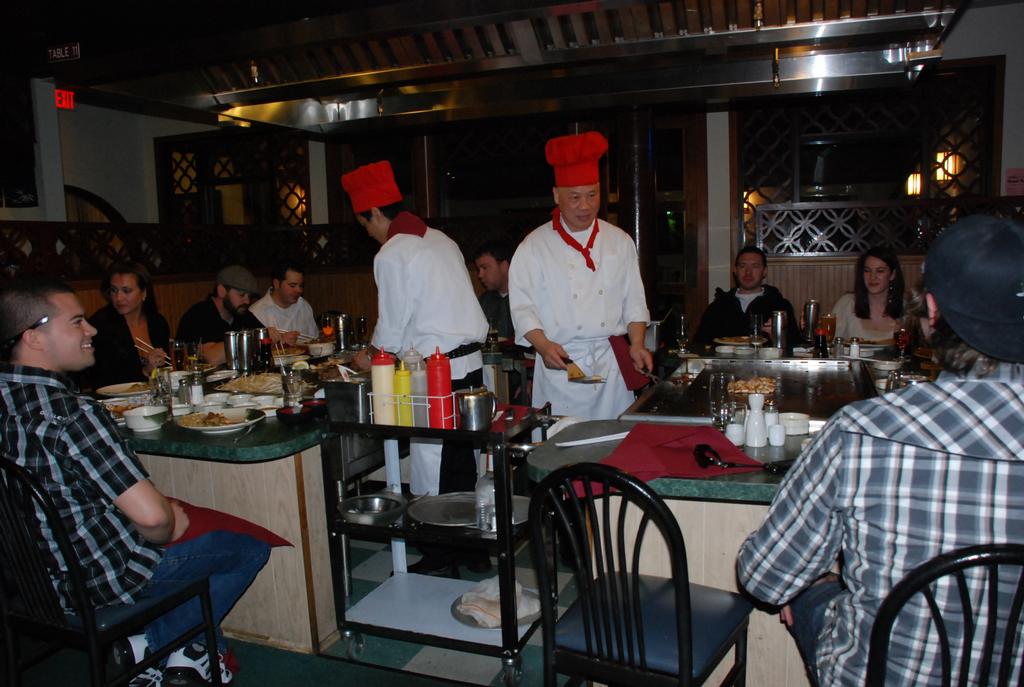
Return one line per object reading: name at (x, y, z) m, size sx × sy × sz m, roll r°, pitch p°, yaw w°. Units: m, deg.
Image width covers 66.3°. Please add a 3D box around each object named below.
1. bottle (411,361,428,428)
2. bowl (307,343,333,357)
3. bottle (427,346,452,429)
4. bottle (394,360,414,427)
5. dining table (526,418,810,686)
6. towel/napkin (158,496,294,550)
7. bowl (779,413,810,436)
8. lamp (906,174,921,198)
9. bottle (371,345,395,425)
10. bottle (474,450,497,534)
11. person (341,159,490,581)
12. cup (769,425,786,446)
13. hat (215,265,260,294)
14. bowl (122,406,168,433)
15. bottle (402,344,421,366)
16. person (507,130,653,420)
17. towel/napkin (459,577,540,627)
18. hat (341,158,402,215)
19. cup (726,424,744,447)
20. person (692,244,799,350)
bottle at (-0.383, 0.204, 3.251) m, size 0.063 × 0.238 × 0.142 m, roll -3°, pitch 9°, yaw -7°
bowl at (-1.202, 0.042, 4.973) m, size 0.176 × 0.078 × 0.129 m, roll -7°, pitch 10°, yaw -30°
bottle at (-0.293, 0.186, 3.185) m, size 0.107 × 0.298 × 0.145 m, roll -3°, pitch 9°, yaw -5°
bottle at (-0.447, 0.208, 3.245) m, size 0.074 × 0.244 × 0.160 m, roll -3°, pitch 9°, yaw -8°
dining table at (0.662, 0.645, 3.187) m, size 1.181 × 1.182 × 0.804 m, roll 3°, pitch 15°, yaw 21°
towel/napkin at (-1.152, 0.735, 3.192) m, size 0.468 × 0.119 × 0.117 m, roll 29°, pitch 1°, yaw -16°
bowl at (1.115, 0.314, 3.073) m, size 0.088 × 0.040 × 0.089 m, roll -1°, pitch 6°, yaw 0°
lamp at (3.340, -1.320, 6.512) m, size 0.129 × 0.182 × 0.054 m, roll 3°, pitch 10°, yaw 27°
bottle at (-0.534, 0.187, 3.271) m, size 0.102 × 0.282 × 0.154 m, roll -4°, pitch 9°, yaw -11°
bottle at (-0.108, 0.618, 3.181) m, size 0.082 × 0.247 × 0.230 m, roll -2°, pitch 9°, yaw -3°
person at (-0.445, 0.114, 4.295) m, size 0.774 × 2.178 × 0.779 m, roll 9°, pitch 22°, yaw 36°
cup at (1.004, 0.346, 2.974) m, size 0.071 × 0.075 × 0.070 m, roll -1°, pitch 0°, yaw 0°
hat at (-1.755, -0.402, 5.007) m, size 0.214 × 0.114 × 0.158 m, roll 10°, pitch 4°, yaw 0°
bowl at (-1.624, 0.334, 3.469) m, size 0.123 × 0.068 × 0.137 m, roll 0°, pitch 0°, yaw 2°
bottle at (-0.412, 0.058, 3.386) m, size 0.106 × 0.102 × 0.105 m, roll 0°, pitch -1°, yaw -31°
person at (0.387, -0.331, 4.103) m, size 0.776 × 1.498 × 0.655 m, roll -3°, pitch 9°, yaw -8°
towel/napkin at (-0.051, 1.120, 3.383) m, size 0.257 × 0.084 × 0.254 m, roll -1°, pitch 8°, yaw -10°
hat at (-0.690, -0.784, 3.948) m, size 0.288 × 0.222 × 0.223 m, roll -12°, pitch 13°, yaw 12°
cup at (0.852, 0.350, 2.984) m, size 0.075 × 0.076 × 0.075 m, roll -1°, pitch -1°, yaw 0°
person at (1.609, -0.180, 5.475) m, size 0.729 × 1.006 × 0.555 m, roll 2°, pitch -3°, yaw 30°
